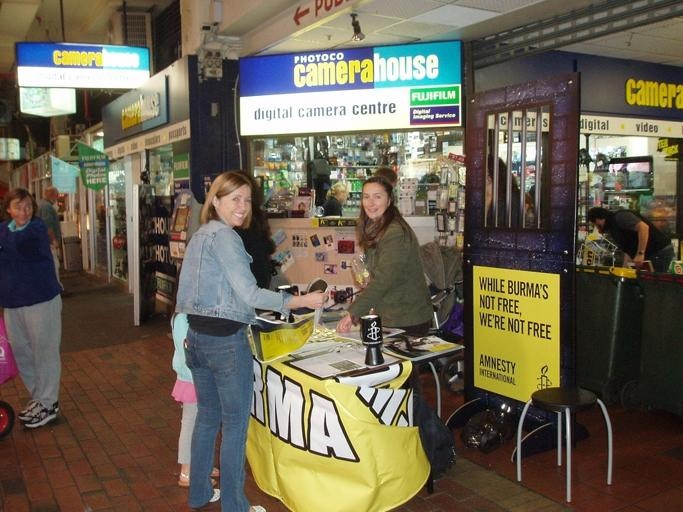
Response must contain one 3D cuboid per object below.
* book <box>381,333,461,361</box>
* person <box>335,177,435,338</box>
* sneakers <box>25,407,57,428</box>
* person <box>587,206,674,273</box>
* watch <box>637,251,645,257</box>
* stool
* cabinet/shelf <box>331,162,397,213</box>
[{"bbox_3d":[0.512,0.606,3.544,0.247,0.036,0.272,4,8,44],"label":"book"},{"bbox_3d":[0.333,0.016,3.853,0.652,1.162,0.540,2,9,9],"label":"person"},{"bbox_3d":[-2.683,1.465,4.869,0.115,0.152,0.306,3,2,31],"label":"sneakers"},{"bbox_3d":[3.526,-0.209,6.441,1.102,0.771,0.615,-7,12,-37],"label":"person"},{"bbox_3d":[3.508,-0.024,6.274,0.066,0.044,0.084,1,-6,31],"label":"watch"},{"bbox_3d":[1.497,1.243,3.600,0.553,0.608,0.555,-3,0,38],"label":"stool"},{"bbox_3d":[0.304,-0.835,7.316,0.913,0.797,0.313,1,13,-4],"label":"cabinet/shelf"}]
